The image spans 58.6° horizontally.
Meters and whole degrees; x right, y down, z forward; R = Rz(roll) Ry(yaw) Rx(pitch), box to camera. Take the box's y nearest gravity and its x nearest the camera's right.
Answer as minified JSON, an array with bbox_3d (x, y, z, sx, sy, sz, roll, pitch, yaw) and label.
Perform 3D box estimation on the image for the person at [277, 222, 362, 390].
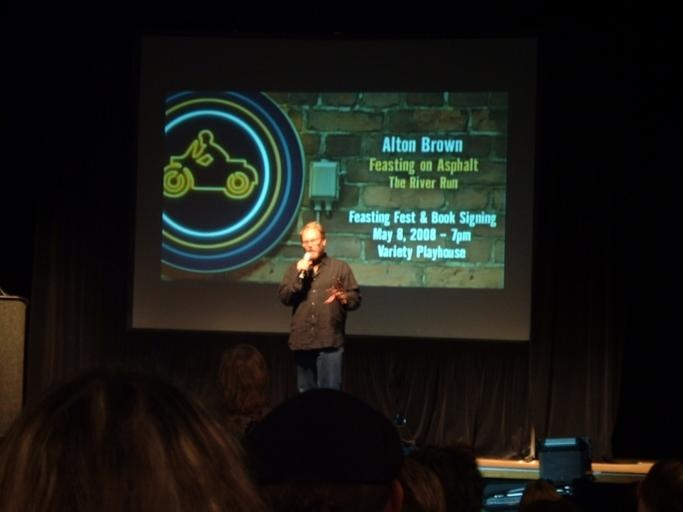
[{"bbox_3d":[-0.143,0.321,3.838,0.507,1.052,0.328,3,-3,-2],"label":"person"}]

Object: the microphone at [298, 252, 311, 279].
[{"bbox_3d":[-0.230,0.062,3.739,0.073,0.143,0.042,-3,-35,12],"label":"microphone"}]
